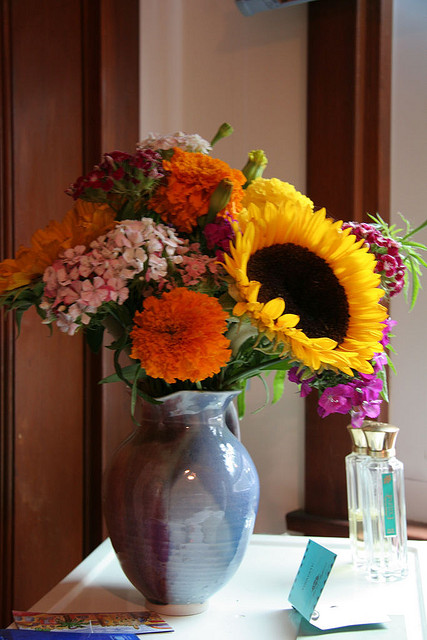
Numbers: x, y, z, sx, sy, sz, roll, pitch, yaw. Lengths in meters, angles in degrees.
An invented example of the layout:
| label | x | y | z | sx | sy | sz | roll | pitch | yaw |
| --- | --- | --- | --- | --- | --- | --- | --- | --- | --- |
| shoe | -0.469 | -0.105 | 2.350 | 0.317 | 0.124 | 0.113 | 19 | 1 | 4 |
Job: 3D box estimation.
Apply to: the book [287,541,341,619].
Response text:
| label | x | y | z | sx | sy | sz | roll | pitch | yaw |
| --- | --- | --- | --- | --- | --- | --- | --- | --- | --- |
| book | 0.122 | 0.324 | 0.786 | 0.004 | 0.081 | 0.077 | 31 | 18 | -2 |

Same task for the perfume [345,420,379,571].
| label | x | y | z | sx | sy | sz | roll | pitch | yaw |
| --- | --- | --- | --- | --- | --- | --- | --- | --- | --- |
| perfume | 0.212 | 0.251 | 0.934 | 0.054 | 0.185 | 0.048 | -2 | -10 | 16 |

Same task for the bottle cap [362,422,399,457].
| label | x | y | z | sx | sy | sz | roll | pitch | yaw |
| --- | --- | --- | --- | --- | --- | --- | --- | --- | --- |
| bottle cap | 0.220 | 0.162 | 0.858 | 0.047 | 0.041 | 0.044 | 0 | -5 | 3 |

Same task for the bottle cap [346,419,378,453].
| label | x | y | z | sx | sy | sz | roll | pitch | yaw |
| --- | --- | --- | --- | --- | --- | --- | --- | --- | --- |
| bottle cap | 0.216 | 0.168 | 0.950 | 0.057 | 0.057 | 0.057 | -1 | -4 | 17 |

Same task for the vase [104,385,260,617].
| label | x | y | z | sx | sy | sz | roll | pitch | yaw |
| --- | --- | --- | --- | --- | --- | --- | --- | --- | --- |
| vase | -0.034 | 0.192 | 0.779 | 0.167 | 0.245 | 0.186 | 1 | -3 | -23 |

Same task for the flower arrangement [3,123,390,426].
| label | x | y | z | sx | sy | sz | roll | pitch | yaw |
| --- | --- | --- | --- | --- | --- | --- | --- | --- | --- |
| flower arrangement | -0.041 | -0.038 | 0.775 | 0.392 | 0.297 | 0.358 | 14 | 7 | 4 |
